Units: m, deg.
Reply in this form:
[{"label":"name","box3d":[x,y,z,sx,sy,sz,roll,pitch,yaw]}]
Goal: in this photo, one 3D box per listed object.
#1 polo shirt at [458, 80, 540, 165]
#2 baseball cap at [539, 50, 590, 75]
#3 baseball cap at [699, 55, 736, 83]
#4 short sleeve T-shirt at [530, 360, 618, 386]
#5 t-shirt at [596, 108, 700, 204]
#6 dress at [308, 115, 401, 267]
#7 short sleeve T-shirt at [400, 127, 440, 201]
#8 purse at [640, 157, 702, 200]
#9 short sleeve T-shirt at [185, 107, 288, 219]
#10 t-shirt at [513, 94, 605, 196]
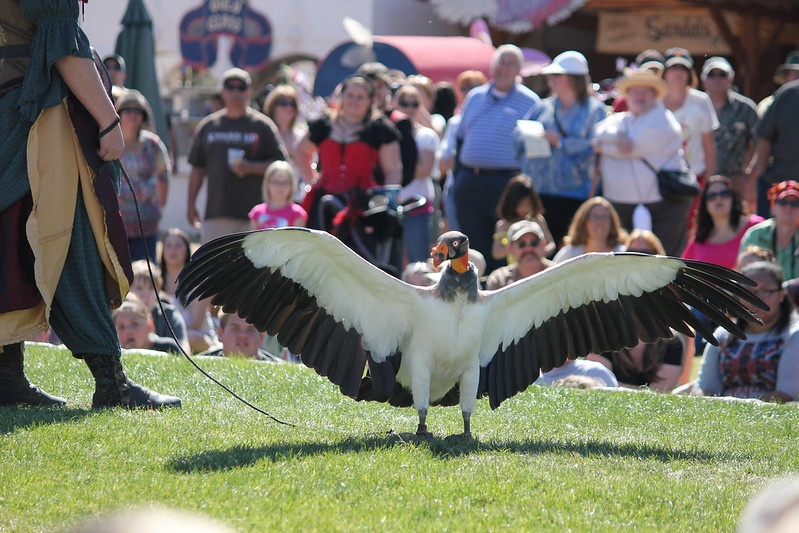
[{"label":"polo shirt","box3d":[1.076,-1.522,22.933,0.977,0.835,0.551,6,-1,24]},{"label":"baseball cap","box3d":[1.769,-2.163,22.437,0.407,0.199,0.282,-3,5,-9]},{"label":"baseball cap","box3d":[3.641,-2.277,24.097,0.391,0.204,0.618,3,2,20]},{"label":"short sleeve T-shirt","box3d":[1.710,1.051,20.457,0.564,0.174,0.418,-3,-5,26]},{"label":"t-shirt","box3d":[2.545,-1.158,22.389,0.919,1.051,1.179,-2,-4,38]},{"label":"dress","box3d":[-0.524,-0.927,22.077,1.273,1.277,0.695,5,6,20]},{"label":"short sleeve T-shirt","box3d":[0.187,-1.092,22.423,0.573,0.927,0.773,3,7,-1]},{"label":"purse","box3d":[2.899,-0.961,22.499,0.544,0.526,0.450,-8,-14,-16]},{"label":"short sleeve T-shirt","box3d":[-1.734,-1.103,22.932,1.607,1.543,0.679,0,-2,3]},{"label":"t-shirt","box3d":[1.730,-1.260,22.597,0.919,1.014,0.609,14,16,26]}]
